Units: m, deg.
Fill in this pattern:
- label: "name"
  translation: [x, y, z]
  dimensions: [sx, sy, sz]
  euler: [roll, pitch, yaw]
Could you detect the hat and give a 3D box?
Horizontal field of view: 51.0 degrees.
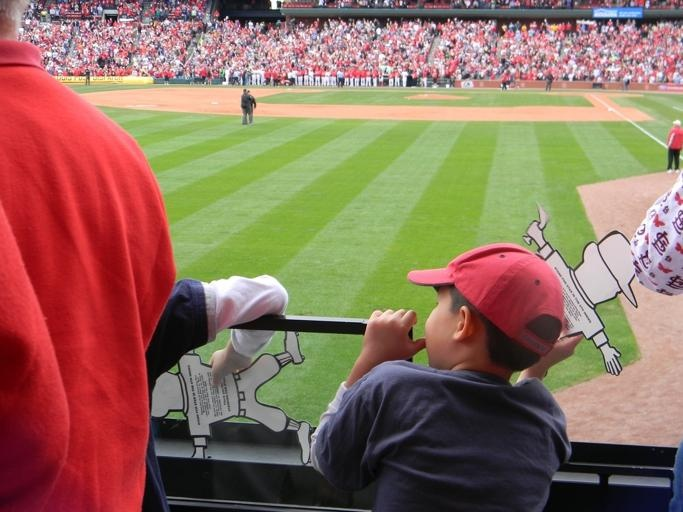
- label: "hat"
  translation: [0.458, 0.089, 2.218]
  dimensions: [0.400, 0.222, 0.294]
  euler: [24, 4, 29]
